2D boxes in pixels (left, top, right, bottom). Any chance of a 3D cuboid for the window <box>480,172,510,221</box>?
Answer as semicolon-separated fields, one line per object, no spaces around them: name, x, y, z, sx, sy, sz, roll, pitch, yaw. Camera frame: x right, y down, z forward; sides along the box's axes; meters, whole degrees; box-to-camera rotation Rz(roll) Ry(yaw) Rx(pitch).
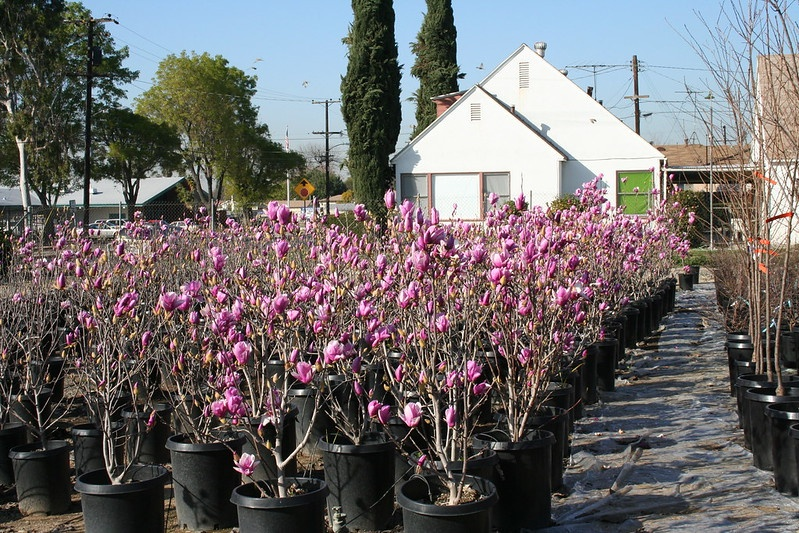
window;2.796;-2.110;25.877;0.815;1.283;0.095;2;-26;2

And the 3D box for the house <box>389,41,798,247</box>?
house;3.605;-3.239;25.160;7.366;3.179;7.698;0;2;9
